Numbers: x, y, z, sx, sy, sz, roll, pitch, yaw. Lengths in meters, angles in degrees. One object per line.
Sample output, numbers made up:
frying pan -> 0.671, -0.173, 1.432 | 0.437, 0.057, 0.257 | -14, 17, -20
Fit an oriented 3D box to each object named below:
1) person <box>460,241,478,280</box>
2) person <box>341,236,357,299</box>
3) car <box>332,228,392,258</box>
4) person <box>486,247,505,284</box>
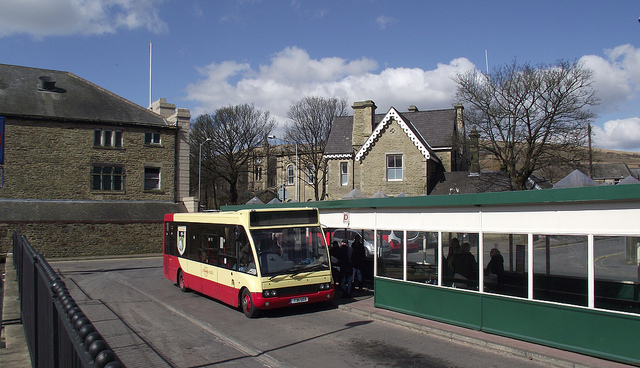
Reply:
person -> 6.023, 3.086, 18.768 | 0.190, 1.499, 0.798 | -4, 6, -33
person -> 1.445, 4.045, 22.612 | 0.706, 2.976, 0.830 | 1, 5, 12
car -> 2.315, 3.117, 24.659 | 2.678, 1.237, 1.511 | -6, -6, 41
person -> 6.961, 3.236, 18.425 | 0.726, 1.396, 0.186 | -1, 5, -10
